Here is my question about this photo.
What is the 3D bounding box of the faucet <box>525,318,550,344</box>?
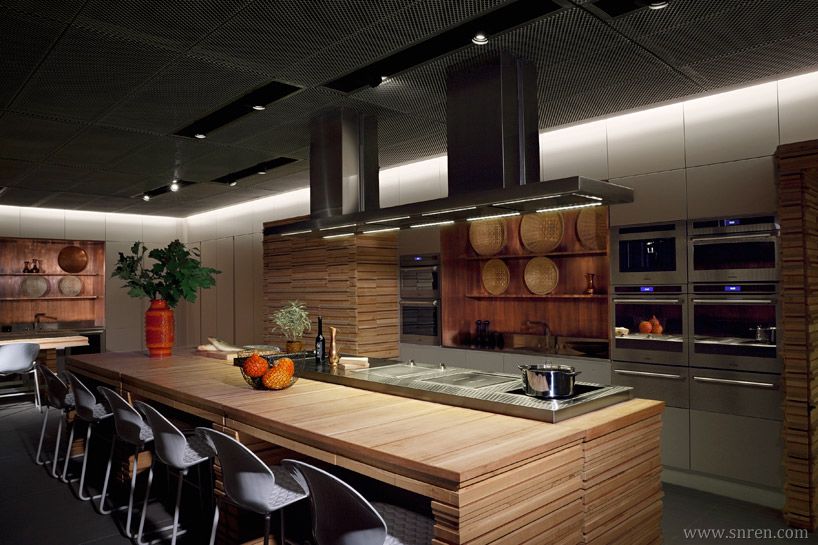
[{"bbox_3d":[1.544,0.700,6.017,0.141,0.270,0.349,-8,10,-22],"label":"faucet"}]

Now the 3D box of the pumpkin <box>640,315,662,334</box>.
[{"bbox_3d":[2.319,0.500,4.881,0.110,0.160,0.185,11,-6,-36],"label":"pumpkin"}]

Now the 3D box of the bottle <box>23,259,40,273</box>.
[{"bbox_3d":[-6.833,-0.120,9.211,0.275,0.209,0.108,4,-8,-42],"label":"bottle"}]

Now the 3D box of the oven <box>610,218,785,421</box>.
[{"bbox_3d":[2.641,0.382,4.675,1.282,1.736,0.481,2,12,32],"label":"oven"}]

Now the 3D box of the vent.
[{"bbox_3d":[0.381,-0.977,4.039,2.503,1.312,0.821,2,12,32],"label":"vent"}]

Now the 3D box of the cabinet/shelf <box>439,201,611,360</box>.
[{"bbox_3d":[1.364,0.122,5.758,1.916,1.463,0.499,-3,-7,40],"label":"cabinet/shelf"}]

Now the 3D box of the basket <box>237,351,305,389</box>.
[{"bbox_3d":[-1.118,0.763,3.919,0.367,0.169,0.348,-3,-7,44],"label":"basket"}]

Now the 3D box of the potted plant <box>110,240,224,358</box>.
[{"bbox_3d":[-2.585,0.287,5.558,1.287,1.156,0.879,1,-7,1],"label":"potted plant"}]

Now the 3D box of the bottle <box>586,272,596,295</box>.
[{"bbox_3d":[1.997,0.120,5.594,0.108,0.215,0.170,-1,10,19],"label":"bottle"}]

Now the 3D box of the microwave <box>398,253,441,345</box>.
[{"bbox_3d":[0.140,0.323,6.617,0.340,1.136,0.853,-12,12,-35],"label":"microwave"}]

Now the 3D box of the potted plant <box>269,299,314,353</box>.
[{"bbox_3d":[-1.096,0.521,4.732,0.396,0.426,0.411,1,-4,-27],"label":"potted plant"}]

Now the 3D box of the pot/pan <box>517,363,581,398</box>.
[{"bbox_3d":[0.949,0.702,3.365,0.320,0.098,0.216,1,-1,-38],"label":"pot/pan"}]
